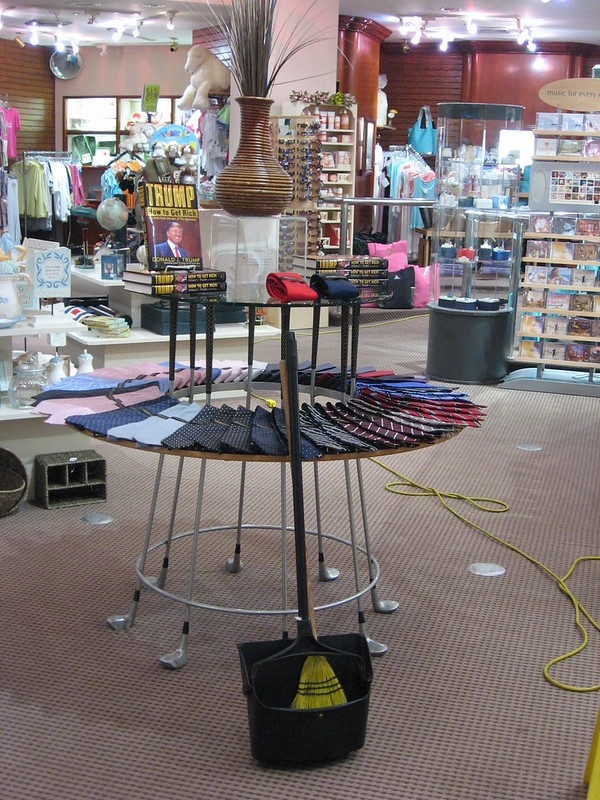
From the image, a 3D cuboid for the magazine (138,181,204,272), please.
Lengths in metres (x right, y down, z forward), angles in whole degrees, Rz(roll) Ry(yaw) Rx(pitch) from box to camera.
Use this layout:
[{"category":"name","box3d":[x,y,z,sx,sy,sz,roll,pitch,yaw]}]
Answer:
[{"category":"magazine","box3d":[-0.359,-0.489,1.716,0.169,0.277,0.246,1,6,-14]}]

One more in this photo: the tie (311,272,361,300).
[{"category":"tie","box3d":[0.087,-0.290,1.584,0.082,0.037,0.103,0,16,-15]}]

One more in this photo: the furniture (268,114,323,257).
[{"category":"furniture","box3d":[-0.040,-2.675,6.904,0.401,1.102,0.377,13,34,34]}]

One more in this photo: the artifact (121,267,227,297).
[{"category":"artifact","box3d":[-0.338,-0.306,1.596,0.295,0.086,0.242,2,6,-1]}]

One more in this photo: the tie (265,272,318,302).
[{"category":"tie","box3d":[-0.017,-0.280,1.443,0.084,0.045,0.100,-1,20,-18]}]
